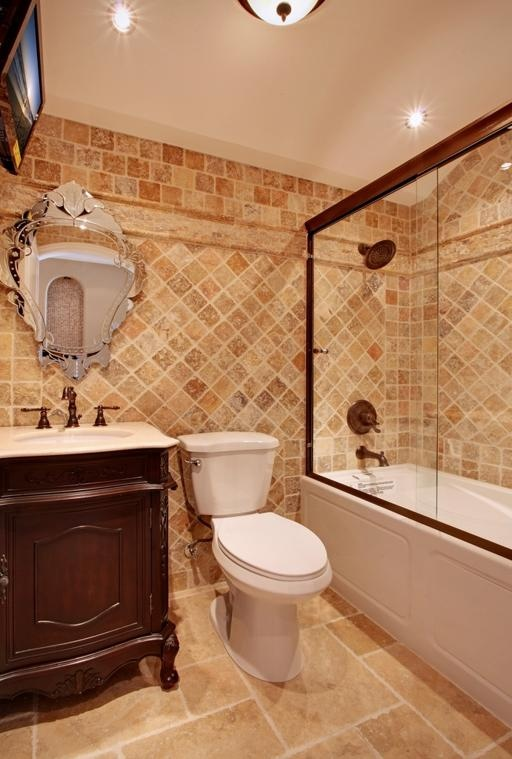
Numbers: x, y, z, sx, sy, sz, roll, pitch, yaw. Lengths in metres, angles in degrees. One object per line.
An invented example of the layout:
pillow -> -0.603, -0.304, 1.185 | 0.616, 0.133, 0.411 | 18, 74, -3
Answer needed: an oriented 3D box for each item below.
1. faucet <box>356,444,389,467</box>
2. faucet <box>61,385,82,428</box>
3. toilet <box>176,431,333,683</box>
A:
faucet -> 0.534, 0.364, 2.675 | 0.056, 0.076, 0.165 | 3, -2, -42
faucet -> -0.720, 0.106, 2.249 | 0.069, 0.152, 0.171 | -4, 11, -18
toilet -> 0.004, 0.650, 2.184 | 0.425, 0.779, 0.756 | -4, 11, -26
